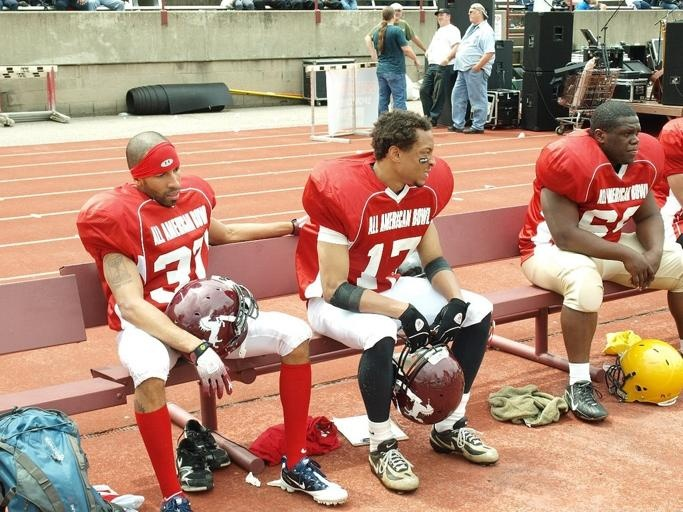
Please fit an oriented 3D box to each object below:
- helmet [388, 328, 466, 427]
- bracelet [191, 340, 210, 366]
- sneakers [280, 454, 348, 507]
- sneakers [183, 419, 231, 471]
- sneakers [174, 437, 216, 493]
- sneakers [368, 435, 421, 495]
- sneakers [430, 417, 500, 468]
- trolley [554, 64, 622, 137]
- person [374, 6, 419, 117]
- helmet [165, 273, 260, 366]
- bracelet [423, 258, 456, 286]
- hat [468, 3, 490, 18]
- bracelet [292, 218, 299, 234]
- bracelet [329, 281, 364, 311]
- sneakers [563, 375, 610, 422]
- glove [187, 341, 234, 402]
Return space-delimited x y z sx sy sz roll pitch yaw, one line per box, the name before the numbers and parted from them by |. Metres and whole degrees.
helmet | 0.435 0.642 3.142 0.405 0.400 0.359 20 22 33
bracelet | -0.644 0.443 2.771 0.082 0.083 0.062 -10 18 -25
sneakers | -0.134 1.088 3.003 0.378 0.190 0.151 14 22 28
sneakers | -0.733 1.012 3.282 0.136 0.131 0.363 -3 16 -45
sneakers | -0.746 1.058 3.056 0.120 0.145 0.333 -2 1 -27
sneakers | 0.250 1.053 3.095 0.173 0.198 0.423 -2 1 -20
sneakers | 0.660 0.995 3.304 0.143 0.205 0.411 1 0 -41
trolley | 5.350 -3.364 13.121 1.214 1.568 0.895 -16 29 -36
person | 1.136 -4.301 13.478 0.899 2.248 0.641 5 18 22
helmet | -0.636 0.284 3.006 0.333 0.342 0.442 33 34 27
bracelet | 0.542 0.064 3.482 0.137 0.108 0.138 -34 -13 -20
hat | 2.958 -5.304 13.136 0.234 0.293 0.803 4 18 21
bracelet | -0.303 -0.197 3.980 0.041 0.081 0.060 7 -15 -17
bracelet | 0.033 0.208 3.168 0.135 0.073 0.146 5 48 12
sneakers | 1.470 0.870 3.699 0.156 0.188 0.430 6 8 0
glove | -0.591 0.513 2.805 0.118 0.259 0.188 -30 2 16
